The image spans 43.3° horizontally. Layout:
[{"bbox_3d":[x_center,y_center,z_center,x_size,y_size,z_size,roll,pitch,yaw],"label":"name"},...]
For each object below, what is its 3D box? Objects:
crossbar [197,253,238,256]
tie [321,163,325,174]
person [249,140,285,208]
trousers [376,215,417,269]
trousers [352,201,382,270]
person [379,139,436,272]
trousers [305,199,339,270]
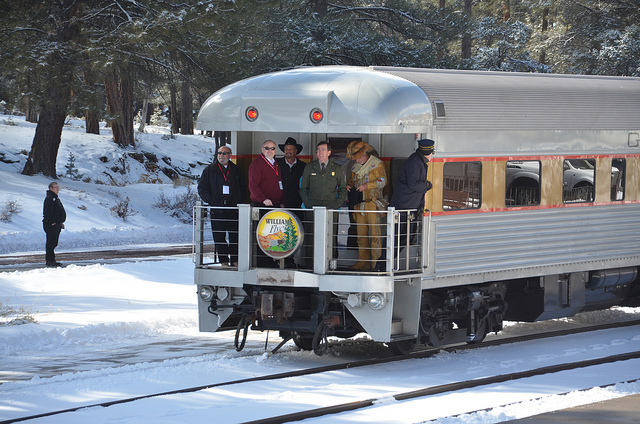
[{"bbox_3d":[-2.004,0.845,16.046,0.055,0.066,0.730,15,-12,-43],"label":"crossbar"},{"bbox_3d":[0.019,-0.819,15.523,0.046,0.208,0.060,0,-7,5],"label":"tie"},{"bbox_3d":[-1.054,-0.713,15.726,0.668,1.314,0.460,-5,5,-14],"label":"person"},{"bbox_3d":[1.383,0.586,15.291,0.822,0.982,0.732,10,-5,8],"label":"trousers"},{"bbox_3d":[0.851,0.458,15.519,0.520,1.222,0.383,-6,-8,35],"label":"trousers"},{"bbox_3d":[1.551,-0.116,15.073,1.119,2.396,0.840,-3,5,7],"label":"person"},{"bbox_3d":[-0.047,0.450,15.911,0.562,1.416,0.627,4,-1,-38],"label":"trousers"}]
